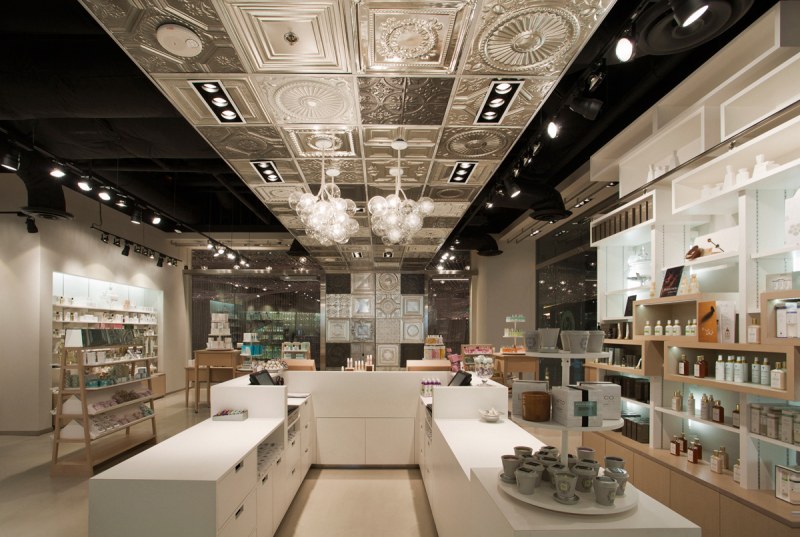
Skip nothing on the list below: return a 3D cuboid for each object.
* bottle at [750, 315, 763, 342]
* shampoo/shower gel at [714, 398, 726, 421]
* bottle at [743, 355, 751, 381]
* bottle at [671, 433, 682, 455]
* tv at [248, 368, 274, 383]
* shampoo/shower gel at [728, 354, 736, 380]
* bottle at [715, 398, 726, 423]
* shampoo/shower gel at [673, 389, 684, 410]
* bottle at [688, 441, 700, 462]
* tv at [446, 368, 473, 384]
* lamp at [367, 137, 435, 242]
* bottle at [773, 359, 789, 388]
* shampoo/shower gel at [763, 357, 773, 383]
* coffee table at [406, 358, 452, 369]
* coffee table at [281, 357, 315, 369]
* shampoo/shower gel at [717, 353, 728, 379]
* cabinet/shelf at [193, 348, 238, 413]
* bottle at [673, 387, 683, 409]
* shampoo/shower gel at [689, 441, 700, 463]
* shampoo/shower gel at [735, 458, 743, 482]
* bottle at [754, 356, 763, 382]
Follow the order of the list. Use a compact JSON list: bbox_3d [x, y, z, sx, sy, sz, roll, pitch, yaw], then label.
[{"bbox_3d":[3.294,0.556,4.556,0.107,0.216,0.133,-6,-11,34],"label":"bottle"},{"bbox_3d":[3.340,1.459,5.139,0.087,0.254,0.153,7,-13,11],"label":"shampoo/shower gel"},{"bbox_3d":[3.451,0.974,4.888,0.058,0.229,0.365,-6,-11,37],"label":"bottle"},{"bbox_3d":[3.190,2.007,5.679,0.097,0.250,0.185,4,-9,9],"label":"bottle"},{"bbox_3d":[-1.746,1.320,6.128,0.272,0.157,0.598,3,-10,-17],"label":"tv"},{"bbox_3d":[3.307,0.967,4.897,0.086,0.255,0.149,-4,-10,28],"label":"shampoo/shower gel"},{"bbox_3d":[3.333,1.468,5.128,0.093,0.266,0.161,5,-12,13],"label":"bottle"},{"bbox_3d":[3.231,1.505,5.709,0.088,0.227,0.150,6,-17,11],"label":"shampoo/shower gel"},{"bbox_3d":[3.249,2.003,5.433,0.093,0.226,0.172,8,-11,-1],"label":"bottle"},{"bbox_3d":[0.781,1.362,6.302,0.281,0.172,0.545,-1,-9,7],"label":"tv"},{"bbox_3d":[-0.095,-0.881,6.380,0.965,1.382,0.925,6,-10,-13],"label":"lamp"},{"bbox_3d":[3.421,0.961,4.422,0.117,0.183,0.148,-6,-11,36],"label":"bottle"},{"bbox_3d":[3.492,0.949,4.684,0.087,0.248,0.314,-6,-11,36],"label":"shampoo/shower gel"},{"bbox_3d":[0.469,1.518,8.025,0.679,0.161,0.237,-2,-9,13],"label":"coffee table"},{"bbox_3d":[-1.621,1.450,7.739,0.482,0.179,0.765,2,-10,-13],"label":"coffee table"},{"bbox_3d":[3.304,0.983,5.047,0.092,0.252,0.253,-5,-11,32],"label":"shampoo/shower gel"},{"bbox_3d":[-4.356,2.408,11.172,0.897,1.257,1.401,8,-12,-42],"label":"cabinet/shelf"},{"bbox_3d":[3.233,1.495,5.727,0.096,0.256,0.154,7,-15,10],"label":"bottle"},{"bbox_3d":[3.250,2.004,5.429,0.087,0.225,0.171,11,-14,-9],"label":"shampoo/shower gel"},{"bbox_3d":[3.310,1.952,4.797,0.069,0.203,0.185,-5,-11,32],"label":"shampoo/shower gel"},{"bbox_3d":[3.425,0.947,4.703,0.081,0.236,0.169,-6,-11,34],"label":"bottle"}]
